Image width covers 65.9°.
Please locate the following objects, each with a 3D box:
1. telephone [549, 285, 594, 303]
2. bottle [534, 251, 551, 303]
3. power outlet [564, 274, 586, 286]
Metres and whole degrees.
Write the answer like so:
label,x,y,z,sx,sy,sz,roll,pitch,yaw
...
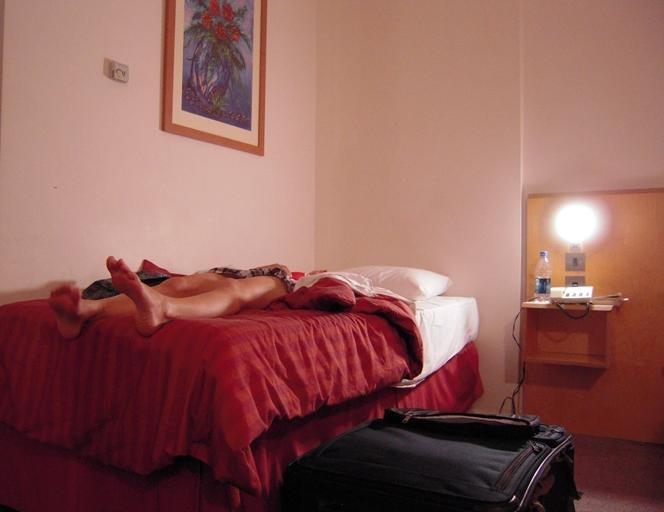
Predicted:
label,x,y,z,sx,sy,sz,roll,pitch,yaw
telephone,1.404,0.218,3.008,0.213,0.057,0.257,0,15,24
bottle,1.311,0.114,3.167,0.095,0.265,0.295,0,14,22
power outlet,1.504,0.155,3.163,0.116,0.061,0.030,0,14,24
